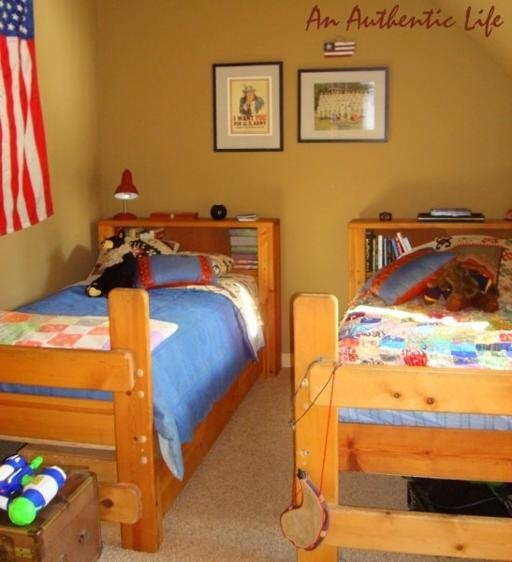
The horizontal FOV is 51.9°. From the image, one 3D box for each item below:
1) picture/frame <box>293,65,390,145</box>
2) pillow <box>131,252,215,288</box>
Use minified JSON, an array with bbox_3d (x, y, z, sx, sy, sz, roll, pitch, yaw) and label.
[{"bbox_3d":[0.575,-1.155,3.396,0.591,0.422,0.044,1,8,8],"label":"picture/frame"},{"bbox_3d":[-0.450,-0.062,2.876,0.310,0.070,0.208,-2,51,-24],"label":"pillow"}]
